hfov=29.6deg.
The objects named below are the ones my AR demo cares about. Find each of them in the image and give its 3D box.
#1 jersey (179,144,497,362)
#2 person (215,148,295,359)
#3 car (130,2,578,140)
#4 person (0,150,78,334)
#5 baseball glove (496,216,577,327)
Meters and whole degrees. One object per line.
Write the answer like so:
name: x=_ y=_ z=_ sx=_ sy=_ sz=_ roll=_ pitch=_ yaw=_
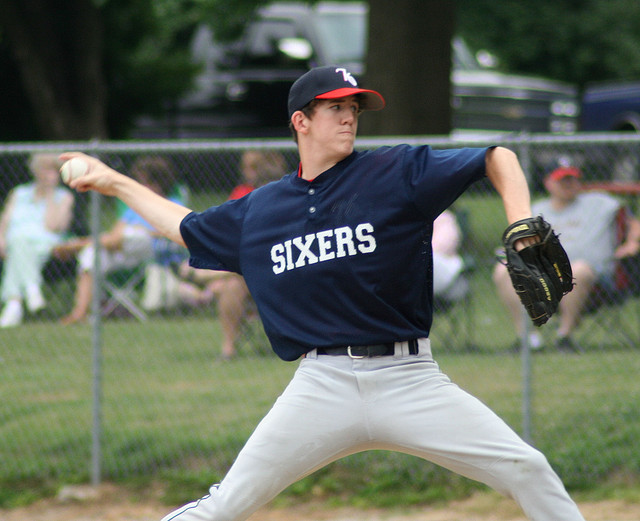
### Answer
jersey: x=0.103 y=-0.066 z=8.372 sx=2.599 sy=1.388 sz=0.628 roll=-12 pitch=-3 yaw=19
person: x=-0.646 y=-0.093 z=10.700 sx=1.083 sy=1.591 sz=0.443 roll=6 pitch=-3 yaw=7
car: x=0.623 y=-2.808 z=17.543 sx=5.204 sy=2.367 sz=2.876 roll=-1 pitch=1 yaw=24
person: x=-2.365 y=-0.116 z=10.059 sx=0.496 sy=0.730 sz=1.394 roll=15 pitch=51 yaw=-11
baseball glove: x=1.437 y=0.062 z=7.995 sx=0.512 sy=0.663 sz=0.194 roll=-16 pitch=7 yaw=-4
